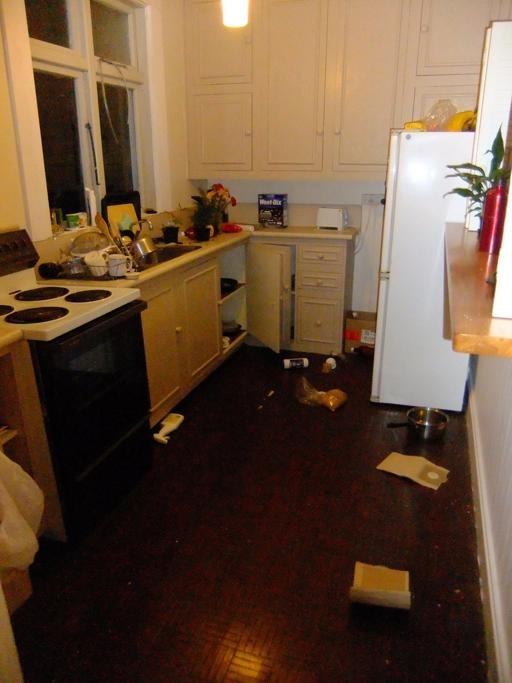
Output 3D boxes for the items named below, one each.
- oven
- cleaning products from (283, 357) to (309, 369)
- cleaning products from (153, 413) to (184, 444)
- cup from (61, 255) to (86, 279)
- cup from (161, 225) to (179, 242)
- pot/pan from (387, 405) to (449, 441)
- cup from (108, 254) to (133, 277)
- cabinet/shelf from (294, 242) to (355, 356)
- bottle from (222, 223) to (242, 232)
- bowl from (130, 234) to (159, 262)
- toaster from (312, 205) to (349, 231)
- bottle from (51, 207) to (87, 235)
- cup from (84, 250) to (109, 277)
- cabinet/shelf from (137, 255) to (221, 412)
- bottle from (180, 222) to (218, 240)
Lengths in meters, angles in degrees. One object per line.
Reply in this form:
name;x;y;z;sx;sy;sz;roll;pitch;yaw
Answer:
oven;-0.774;0.267;2.028;0.566;0.824;0.608;5;20;14
cleaning products;0.282;0.146;3.549;0.180;0.073;0.114;1;21;3
cleaning products;-0.460;0.454;2.654;0.069;0.032;0.164;11;27;15
cup;-0.831;-0.338;2.319;0.108;0.109;0.104;2;27;-1
cup;-0.556;-0.702;3.281;0.105;0.086;0.110;0;27;0
pot/pan;0.859;0.420;2.670;0.287;0.116;0.241;17;28;38
cup;-0.622;-0.346;2.351;0.127;0.098;0.097;0;23;-14
cabinet/shelf;0.465;-0.311;3.686;0.363;0.844;0.212;1;21;4
bottle;-0.179;-0.847;3.753;0.124;0.044;0.075;14;51;22
bowl;-0.601;-0.493;2.781;0.150;0.104;0.152;-16;26;8
toaster;0.582;-0.942;3.773;0.195;0.149;0.194;8;28;17
bottle;-0.964;-0.619;2.612;0.111;0.123;0.181;3;32;2
cup;-0.729;-0.355;2.309;0.098;0.098;0.112;-8;23;-19
cabinet/shelf;-0.424;-0.047;2.741;0.287;0.629;0.755;2;24;11
bottle;-0.384;-0.769;3.519;0.154;0.075;0.175;1;16;5
